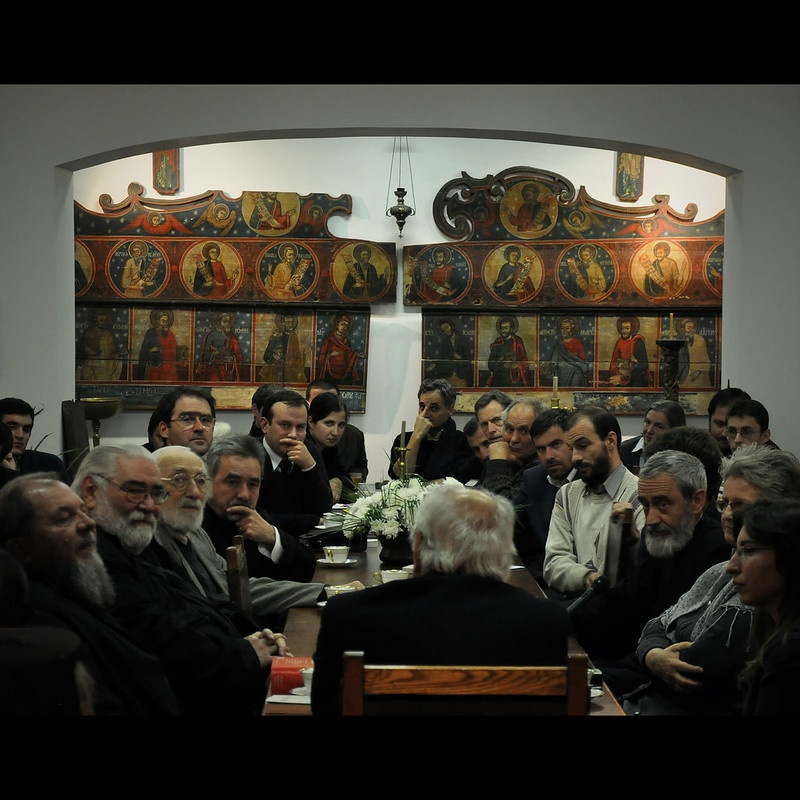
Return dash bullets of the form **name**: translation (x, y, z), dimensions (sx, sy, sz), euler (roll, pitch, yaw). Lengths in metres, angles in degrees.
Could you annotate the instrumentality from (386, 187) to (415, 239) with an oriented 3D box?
- **instrumentality**: translation (-0.005, -2.044, 11.064), dimensions (0.340, 0.484, 0.290), euler (-2, 6, 3)
